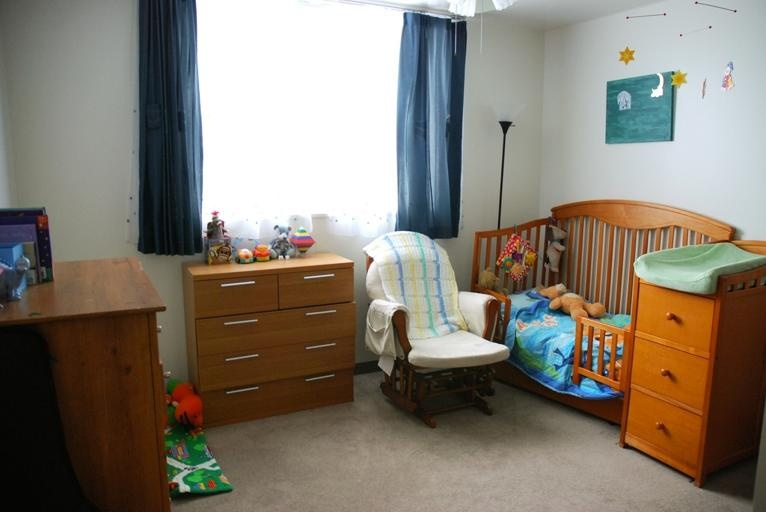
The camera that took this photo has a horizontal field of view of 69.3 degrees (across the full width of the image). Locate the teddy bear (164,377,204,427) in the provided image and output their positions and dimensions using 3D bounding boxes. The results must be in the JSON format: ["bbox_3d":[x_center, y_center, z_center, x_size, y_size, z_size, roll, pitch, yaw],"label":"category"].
[{"bbox_3d":[-1.435,1.027,3.951,0.221,0.173,0.346,-18,40,-35],"label":"teddy bear"}]

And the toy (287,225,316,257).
[{"bbox_3d":[-0.639,-0.111,4.303,0.208,0.257,0.214,1,3,16],"label":"toy"}]
